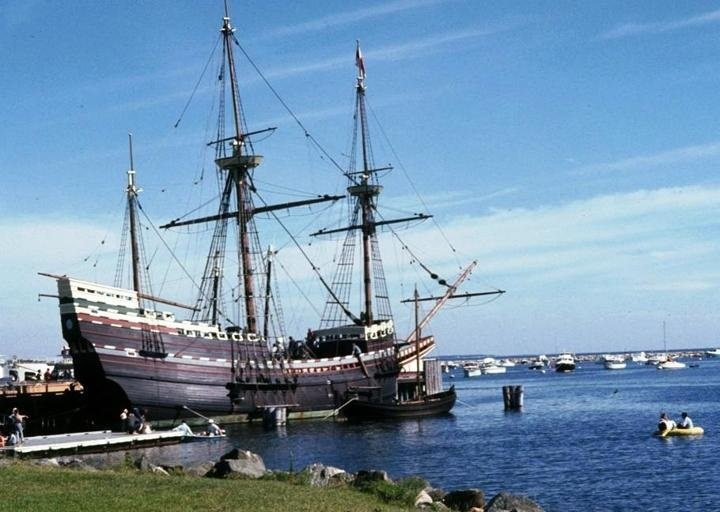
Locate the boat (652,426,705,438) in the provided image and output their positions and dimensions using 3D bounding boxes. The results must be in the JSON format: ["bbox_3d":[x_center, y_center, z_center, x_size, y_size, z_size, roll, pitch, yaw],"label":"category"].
[{"bbox_3d":[29.964,16.497,95.900,4.410,0.903,1.719,-2,-9,-6],"label":"boat"}]
